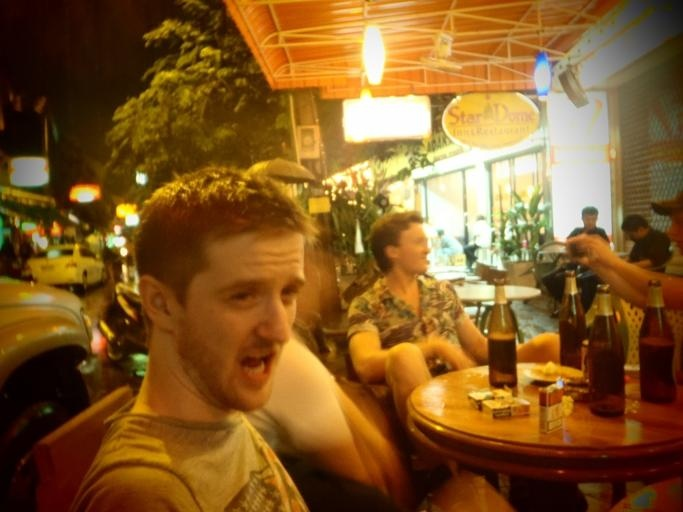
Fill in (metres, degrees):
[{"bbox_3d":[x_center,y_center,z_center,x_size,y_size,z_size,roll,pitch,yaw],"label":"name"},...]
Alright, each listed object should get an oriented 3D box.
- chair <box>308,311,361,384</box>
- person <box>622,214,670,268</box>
[{"bbox_3d":[-0.108,0.951,6.051,0.341,0.854,0.621,-28,-27,23],"label":"chair"},{"bbox_3d":[3.913,-0.199,6.929,0.378,0.742,0.419,-9,-27,13],"label":"person"}]
